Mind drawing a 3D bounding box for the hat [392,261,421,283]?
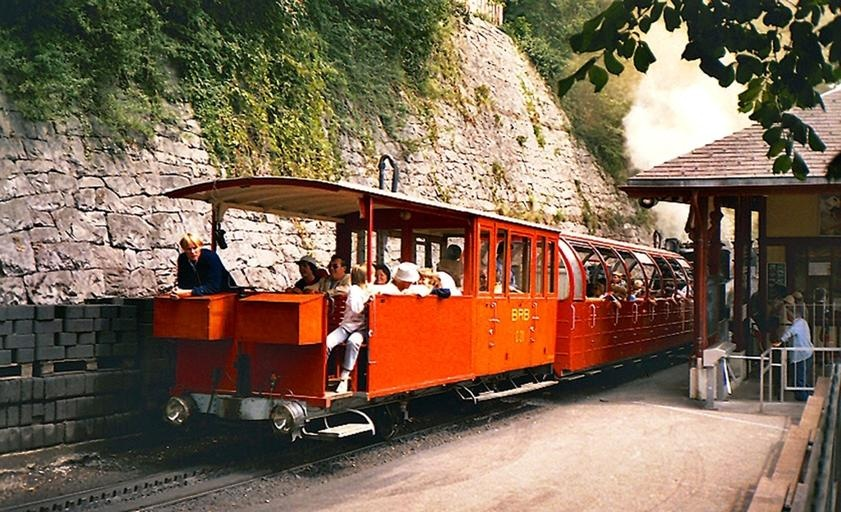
[{"bbox_3d":[-0.273,0.329,15.064,0.481,0.392,0.366,0,7,-6],"label":"hat"}]

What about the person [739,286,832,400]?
[{"bbox_3d":[8.930,2.087,18.856,1.219,3.122,1.170,-2,-29,20],"label":"person"}]

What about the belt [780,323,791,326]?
[{"bbox_3d":[9.174,1.707,19.485,0.214,0.054,0.205,1,1,36],"label":"belt"}]

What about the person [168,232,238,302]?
[{"bbox_3d":[-4.073,0.278,14.278,0.735,0.800,1.406,-13,-18,11],"label":"person"}]

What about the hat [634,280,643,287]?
[{"bbox_3d":[6.278,0.786,22.343,0.211,0.212,0.216,7,-16,-21],"label":"hat"}]

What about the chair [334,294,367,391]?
[{"bbox_3d":[-1.285,1.442,13.986,0.457,1.886,0.785,8,9,44],"label":"chair"}]

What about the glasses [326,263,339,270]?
[{"bbox_3d":[-1.685,0.196,14.780,0.125,0.182,0.278,-6,10,-44],"label":"glasses"}]

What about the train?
[{"bbox_3d":[2.062,1.311,20.552,4.169,5.797,18.449,-3,-4,33],"label":"train"}]

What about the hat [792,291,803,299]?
[{"bbox_3d":[9.355,1.001,19.195,0.246,0.124,0.372,2,5,19],"label":"hat"}]
